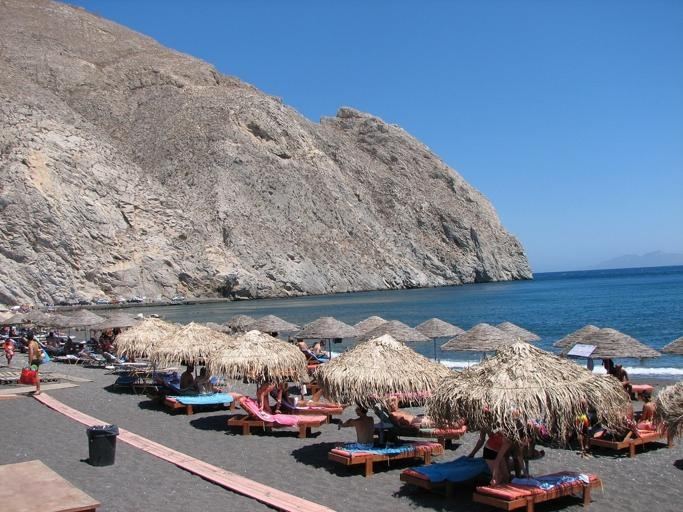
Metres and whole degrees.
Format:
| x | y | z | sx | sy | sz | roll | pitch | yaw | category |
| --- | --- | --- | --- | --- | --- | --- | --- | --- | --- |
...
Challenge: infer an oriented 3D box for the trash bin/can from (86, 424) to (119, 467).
| x | y | z | sx | sy | sz | roll | pitch | yaw | category |
| --- | --- | --- | --- | --- | --- | --- | --- | --- | --- |
| -4.596 | 3.692 | 13.080 | 0.543 | 0.736 | 0.486 | -1 | -9 | -17 | trash bin/can |
